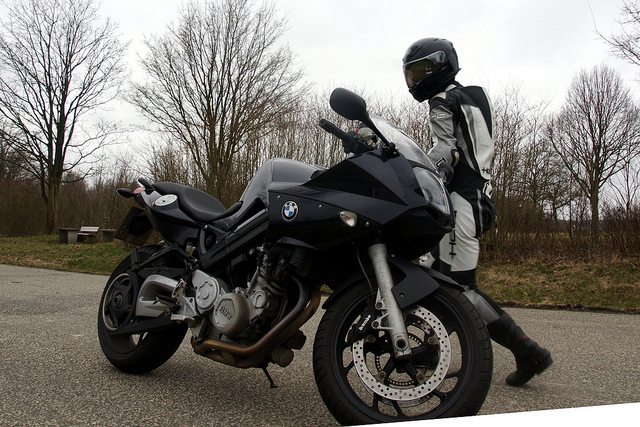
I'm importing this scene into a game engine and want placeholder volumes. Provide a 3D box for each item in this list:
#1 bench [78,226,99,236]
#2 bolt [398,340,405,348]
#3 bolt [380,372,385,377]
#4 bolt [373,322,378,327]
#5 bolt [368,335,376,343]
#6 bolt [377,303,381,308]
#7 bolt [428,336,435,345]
[{"bbox_3d":[-9.405,0.734,19.283,0.680,0.205,0.719,0,6,-13],"label":"bench"},{"bbox_3d":[0.641,1.029,3.770,0.050,0.056,0.012,0,-5,10],"label":"bolt"},{"bbox_3d":[0.496,1.284,3.815,0.033,0.037,0.009,1,-5,6],"label":"bolt"},{"bbox_3d":[0.443,0.885,3.828,0.034,0.038,0.012,-1,-6,-2],"label":"bolt"},{"bbox_3d":[0.417,1.019,3.900,0.053,0.060,0.019,0,0,-5],"label":"bolt"},{"bbox_3d":[0.472,0.733,3.839,0.036,0.040,0.012,1,0,-2],"label":"bolt"},{"bbox_3d":[0.890,1.013,3.816,0.060,0.068,0.025,-2,-1,-5],"label":"bolt"}]
